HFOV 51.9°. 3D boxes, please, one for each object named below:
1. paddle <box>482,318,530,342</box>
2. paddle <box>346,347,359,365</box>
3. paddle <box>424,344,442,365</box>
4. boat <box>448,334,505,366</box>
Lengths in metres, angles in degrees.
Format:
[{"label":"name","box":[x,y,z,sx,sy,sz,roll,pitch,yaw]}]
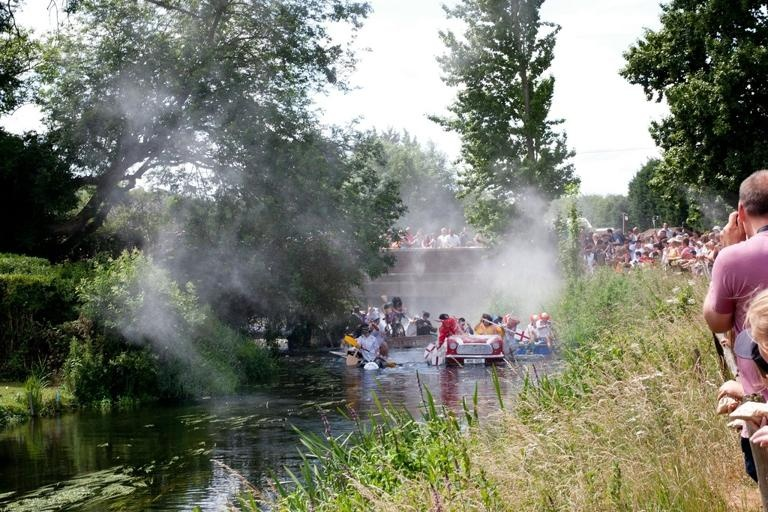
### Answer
[{"label":"paddle","box":[4.406,2.938,29.182,1.017,0.636,1.448,9,-1,37]},{"label":"paddle","box":[-1.210,3.828,29.971,0.655,0.767,0.411,3,-14,-1]},{"label":"paddle","box":[1.749,3.672,29.328,0.331,0.786,0.524,-3,11,-44]},{"label":"boat","box":[3.066,3.272,27.310,1.861,0.682,1.185,-1,10,12]}]
